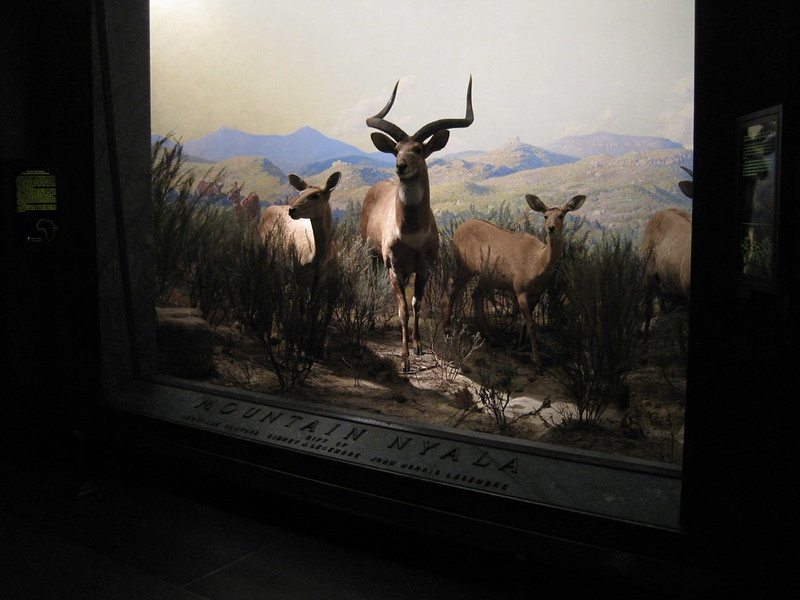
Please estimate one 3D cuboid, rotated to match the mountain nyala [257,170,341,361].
[{"bbox_3d":[-0.781,-0.537,4.462,0.626,0.904,0.838,0,8,-7],"label":"mountain nyala"}]
